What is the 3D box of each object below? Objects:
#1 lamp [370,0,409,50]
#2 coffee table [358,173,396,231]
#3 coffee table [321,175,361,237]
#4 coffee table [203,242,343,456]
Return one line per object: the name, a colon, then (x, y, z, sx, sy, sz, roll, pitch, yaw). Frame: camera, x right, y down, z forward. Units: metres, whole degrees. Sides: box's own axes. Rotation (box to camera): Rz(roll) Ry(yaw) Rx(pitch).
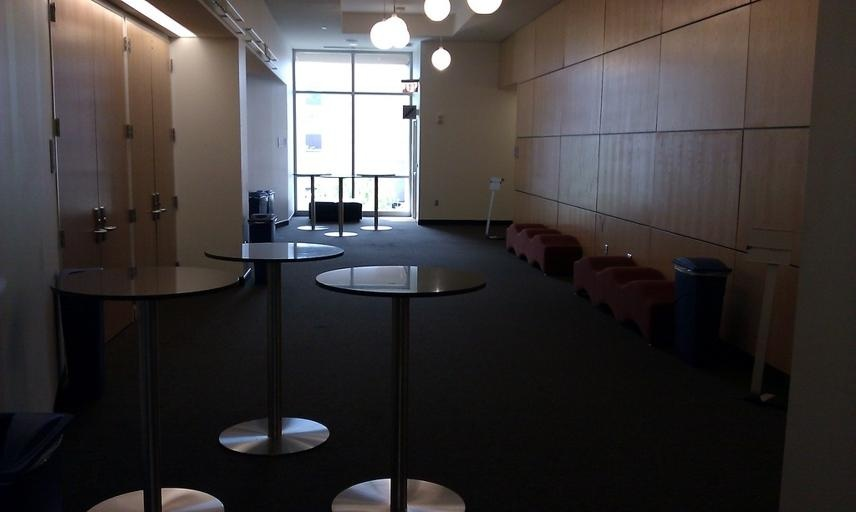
lamp: (-0.597, -3.593, 9.656, 0.544, 0.523, 0.338, 2, 14, 3)
coffee table: (-1.305, -1.441, 15.355, 0.694, 1.504, 2.634, -1, 15, -6)
coffee table: (-2.050, -1.186, 14.226, 0.693, 1.362, 2.480, -2, 15, -10)
coffee table: (-0.944, 0.704, 5.464, 1.435, 1.874, 1.455, 0, 3, -2)
